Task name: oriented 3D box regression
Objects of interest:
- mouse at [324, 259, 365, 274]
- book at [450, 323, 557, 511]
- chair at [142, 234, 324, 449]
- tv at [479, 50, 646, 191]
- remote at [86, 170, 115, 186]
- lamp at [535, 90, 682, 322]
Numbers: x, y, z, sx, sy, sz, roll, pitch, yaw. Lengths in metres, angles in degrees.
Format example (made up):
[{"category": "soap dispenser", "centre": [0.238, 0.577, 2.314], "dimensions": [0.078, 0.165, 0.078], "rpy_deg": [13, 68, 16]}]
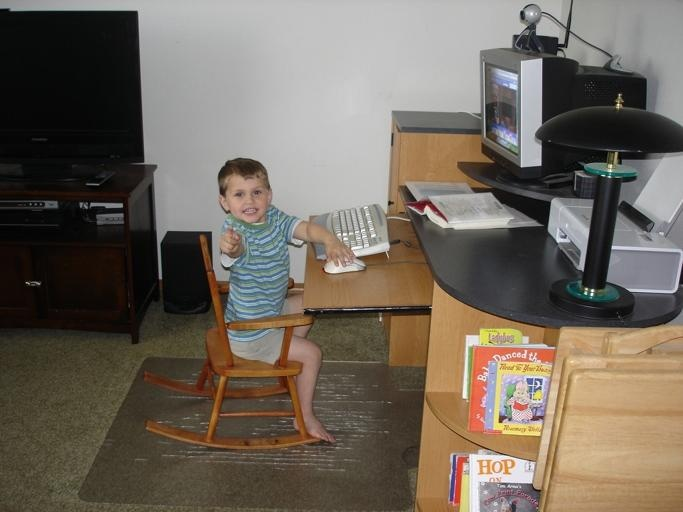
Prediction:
[{"category": "mouse", "centre": [0.010, 0.029, 2.080], "dimensions": [0.115, 0.036, 0.064], "rpy_deg": [-4, 13, -18]}, {"category": "book", "centre": [0.475, 0.566, 1.708], "dimensions": [0.282, 0.730, 0.360], "rpy_deg": [5, 22, 18]}, {"category": "chair", "centre": [-0.285, 0.383, 2.604], "dimensions": [1.076, 0.953, 0.628], "rpy_deg": [-1, 19, -12]}, {"category": "tv", "centre": [0.836, -0.606, 2.341], "dimensions": [0.661, 0.549, 0.618], "rpy_deg": [-4, 19, -5]}, {"category": "remote", "centre": [-1.327, -0.425, 3.040], "dimensions": [0.117, 0.030, 0.302], "rpy_deg": [-6, 21, -10]}, {"category": "lamp", "centre": [0.706, -0.137, 1.517], "dimensions": [0.347, 0.574, 0.256], "rpy_deg": [1, 22, 9]}]
